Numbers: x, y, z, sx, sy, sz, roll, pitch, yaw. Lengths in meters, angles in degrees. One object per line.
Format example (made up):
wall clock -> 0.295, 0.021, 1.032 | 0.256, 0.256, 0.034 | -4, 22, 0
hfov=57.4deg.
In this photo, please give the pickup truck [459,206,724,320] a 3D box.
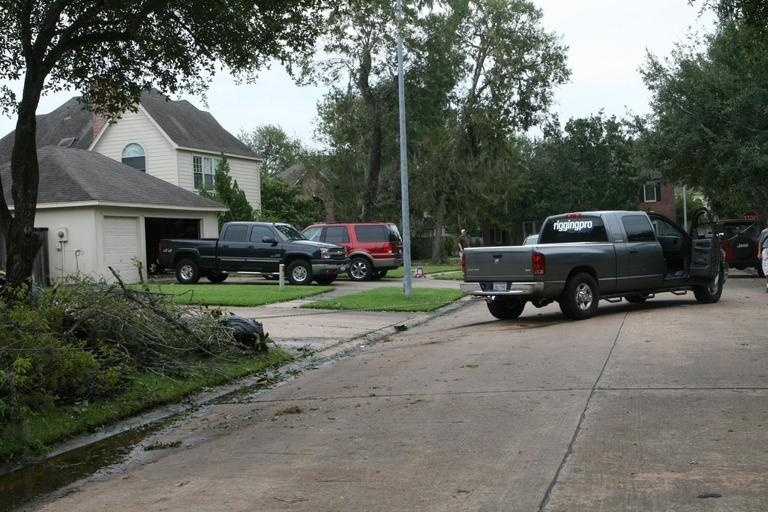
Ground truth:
pickup truck -> 4.878, 0.183, 16.030 | 6.263, 2.434, 1.596 | -5, 0, -19
